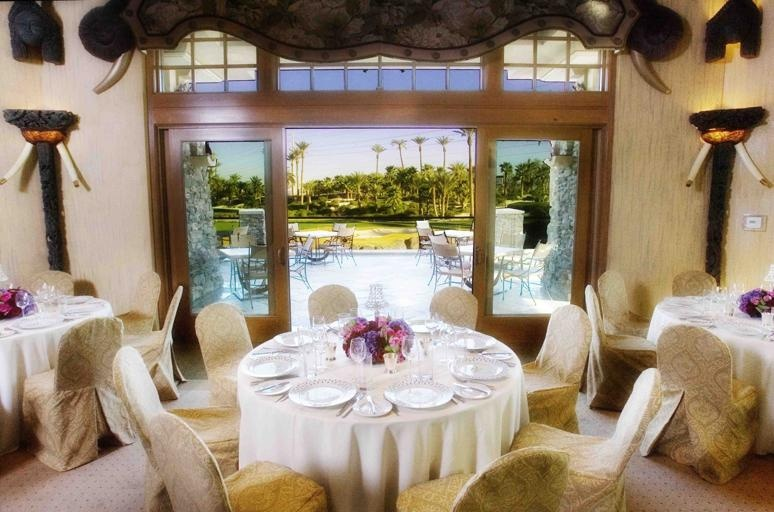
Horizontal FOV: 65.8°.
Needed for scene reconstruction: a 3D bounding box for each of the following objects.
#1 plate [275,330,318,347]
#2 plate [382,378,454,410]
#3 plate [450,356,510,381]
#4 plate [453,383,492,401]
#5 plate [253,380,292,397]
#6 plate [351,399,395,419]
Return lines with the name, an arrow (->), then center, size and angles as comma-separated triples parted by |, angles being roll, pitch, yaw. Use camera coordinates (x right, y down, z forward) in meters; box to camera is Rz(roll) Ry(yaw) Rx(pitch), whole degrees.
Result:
plate -> -0.748, 0.683, 4.972 | 0.224, 0.032, 0.222 | -1, 10, 10
plate -> 0.240, 1.007, 4.384 | 0.490, 0.156, 0.282 | 0, 7, 11
plate -> 0.713, 0.877, 4.618 | 0.416, 0.122, 0.298 | -4, 7, -18
plate -> 0.635, 1.004, 4.410 | 0.276, 0.081, 0.152 | -1, 7, 6
plate -> -0.835, 0.989, 4.454 | 0.267, 0.067, 0.154 | -3, 7, -10
plate -> -0.096, 1.086, 4.269 | 0.282, 0.101, 0.159 | -1, 7, 9
